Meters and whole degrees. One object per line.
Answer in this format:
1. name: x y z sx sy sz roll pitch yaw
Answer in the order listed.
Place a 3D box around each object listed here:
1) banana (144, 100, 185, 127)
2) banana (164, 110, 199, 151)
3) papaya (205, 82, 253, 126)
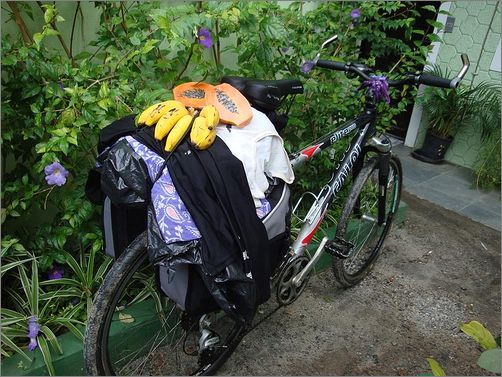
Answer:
1. banana: -0.465 -0.424 2.158 0.202 0.131 0.260 21 27 36
2. banana: -0.358 -0.273 2.073 0.074 0.082 0.271 37 63 0
3. papaya: -0.113 -0.439 2.140 0.175 0.076 0.243 -30 66 -21
